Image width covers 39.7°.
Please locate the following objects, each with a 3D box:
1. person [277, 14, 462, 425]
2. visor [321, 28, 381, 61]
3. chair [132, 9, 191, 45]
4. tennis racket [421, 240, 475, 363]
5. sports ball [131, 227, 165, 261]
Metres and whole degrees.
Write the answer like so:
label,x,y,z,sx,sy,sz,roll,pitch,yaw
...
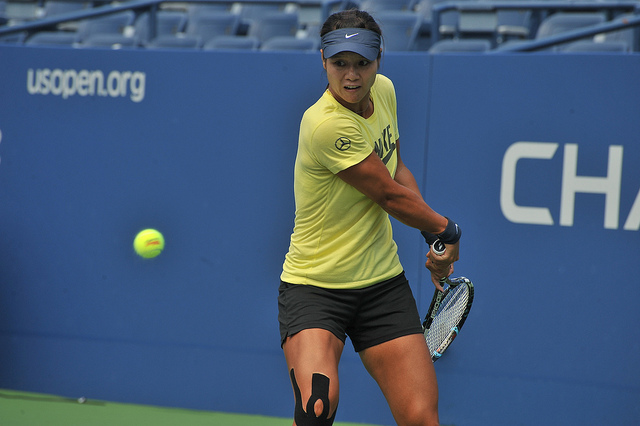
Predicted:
label,x,y,z,sx,sy,sz,roll,pitch,yaw
person,0.299,0.052,5.869,1.042,2.660,0.564,3,-8,-8
visor,0.208,-1.115,5.884,0.482,0.199,0.482,-10,15,-38
chair,-1.389,-1.649,7.739,0.385,0.285,0.427,4,5,7
tennis racket,0.873,0.612,6.328,0.399,0.957,0.099,-21,-52,24
sports ball,-1.431,0.262,7.501,0.299,0.181,0.321,-1,32,1
